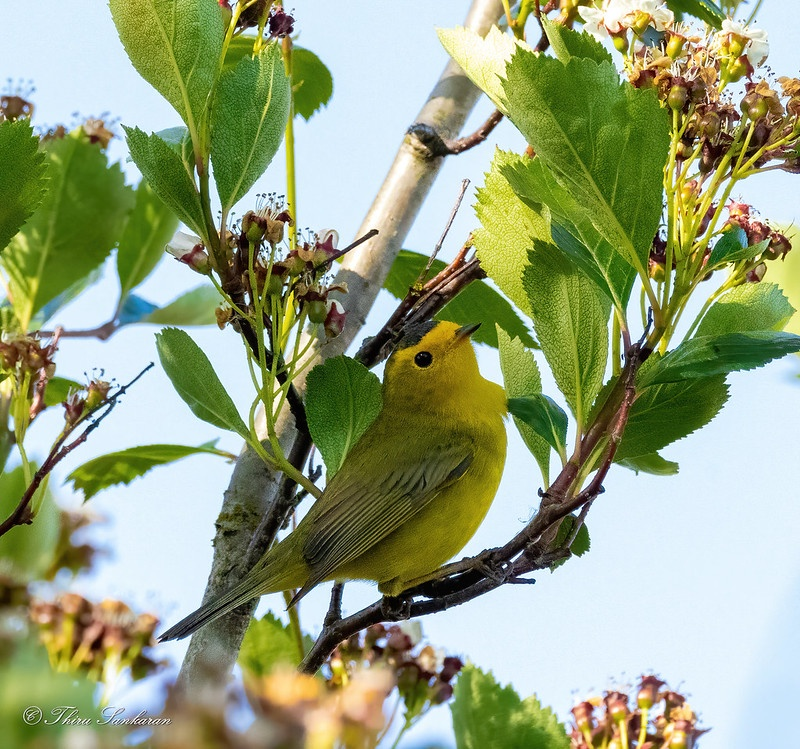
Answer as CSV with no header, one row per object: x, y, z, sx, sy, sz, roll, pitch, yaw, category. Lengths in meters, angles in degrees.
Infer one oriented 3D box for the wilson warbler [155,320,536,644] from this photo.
-0.155,0.326,3.100,0.907,0.702,0.445,-13,-14,-17,wilson warbler
